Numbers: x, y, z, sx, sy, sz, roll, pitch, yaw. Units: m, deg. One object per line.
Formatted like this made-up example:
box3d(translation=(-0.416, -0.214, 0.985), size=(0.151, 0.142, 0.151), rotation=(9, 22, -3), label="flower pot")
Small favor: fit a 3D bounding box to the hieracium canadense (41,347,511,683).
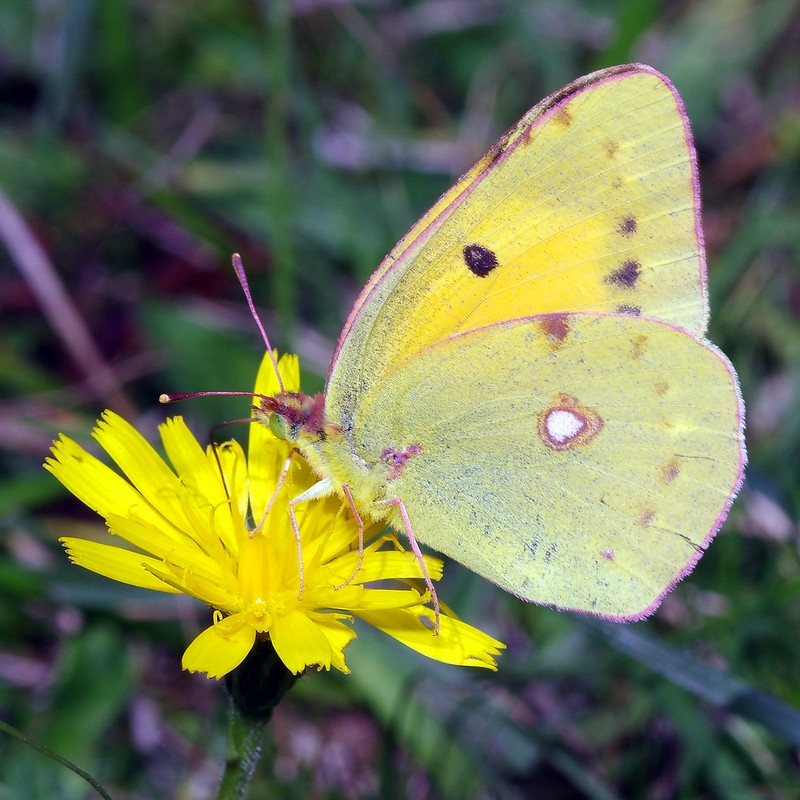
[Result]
box3d(translation=(-0.391, 0.493, 3.014), size=(1.246, 1.252, 0.599), rotation=(38, 81, 9), label="hieracium canadense")
